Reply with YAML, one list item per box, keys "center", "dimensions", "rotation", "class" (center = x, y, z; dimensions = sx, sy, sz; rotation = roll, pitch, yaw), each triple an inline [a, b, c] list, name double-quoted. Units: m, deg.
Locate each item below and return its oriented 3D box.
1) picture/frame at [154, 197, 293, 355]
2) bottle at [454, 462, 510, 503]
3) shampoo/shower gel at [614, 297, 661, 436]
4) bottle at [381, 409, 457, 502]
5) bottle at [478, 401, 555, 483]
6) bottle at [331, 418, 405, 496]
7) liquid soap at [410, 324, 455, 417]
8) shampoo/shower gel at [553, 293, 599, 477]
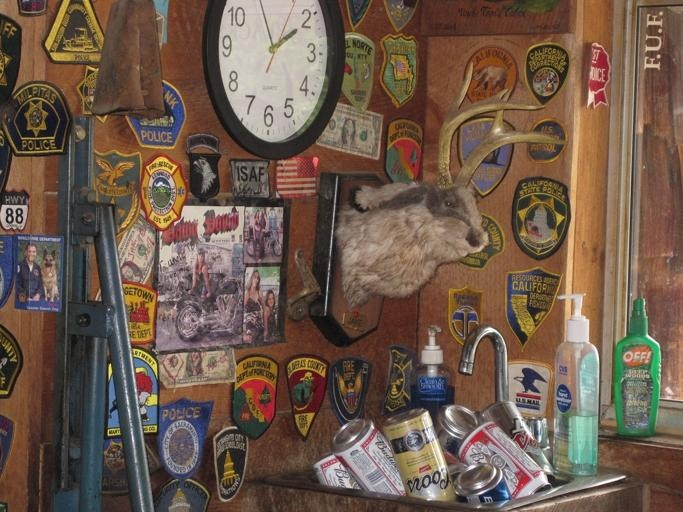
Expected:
- center: [-0.278, 0.037, 2.321]
  dimensions: [0.323, 0.351, 0.015]
  rotation: [-3, 8, -37]
  class: "picture/frame"
- center: [0.298, 0.453, 2.214]
  dimensions: [0.085, 0.098, 0.087]
  rotation: [3, 22, 42]
  class: "bottle"
- center: [0.688, 0.254, 2.442]
  dimensions: [0.102, 0.312, 0.040]
  rotation: [-3, -6, 16]
  class: "shampoo/shower gel"
- center: [0.161, 0.414, 2.229]
  dimensions: [0.143, 0.190, 0.070]
  rotation: [-3, -6, 22]
  class: "bottle"
- center: [0.377, 0.375, 2.350]
  dimensions: [0.057, 0.208, 0.110]
  rotation: [-39, -31, 22]
  class: "bottle"
- center: [0.057, 0.426, 2.231]
  dimensions: [0.081, 0.149, 0.080]
  rotation: [-32, 0, 0]
  class: "bottle"
- center: [0.222, 0.272, 2.511]
  dimensions: [0.113, 0.216, 0.086]
  rotation: [0, -5, -8]
  class: "liquid soap"
- center: [0.545, 0.288, 2.440]
  dimensions: [0.112, 0.400, 0.209]
  rotation: [-2, -5, 14]
  class: "shampoo/shower gel"
